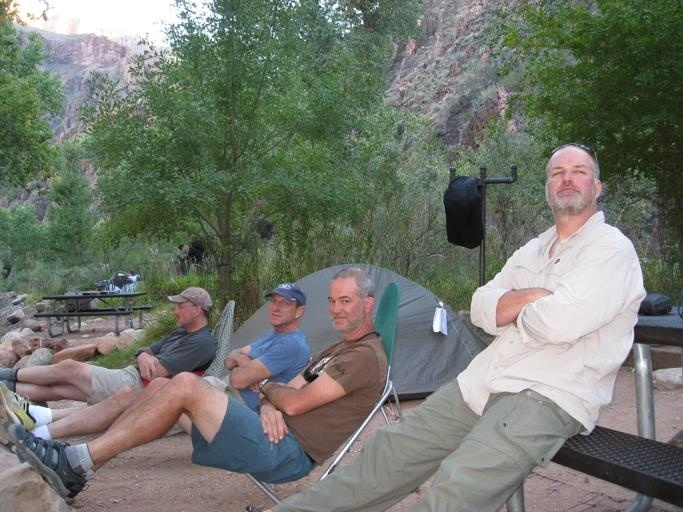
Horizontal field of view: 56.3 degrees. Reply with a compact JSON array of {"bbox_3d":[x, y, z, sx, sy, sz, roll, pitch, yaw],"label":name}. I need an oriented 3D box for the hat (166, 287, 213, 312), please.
[{"bbox_3d":[-1.427,0.406,6.125,0.325,0.188,0.233,10,-7,-7],"label":"hat"}]

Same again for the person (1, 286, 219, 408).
[{"bbox_3d":[-2.044,0.880,6.437,2.131,1.445,0.943,8,-5,-20],"label":"person"}]

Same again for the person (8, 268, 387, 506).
[{"bbox_3d":[-0.993,0.833,4.758,2.490,1.751,0.997,4,-4,-13],"label":"person"}]

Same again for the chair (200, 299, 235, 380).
[{"bbox_3d":[-1.247,0.788,6.409,0.426,0.620,0.458,-12,-2,1],"label":"chair"}]

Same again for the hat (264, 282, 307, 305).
[{"bbox_3d":[-0.427,0.303,5.313,0.173,0.133,0.253,-1,-23,42],"label":"hat"}]

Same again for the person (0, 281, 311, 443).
[{"bbox_3d":[-1.380,0.812,5.359,1.985,1.315,1.099,4,-3,-14],"label":"person"}]

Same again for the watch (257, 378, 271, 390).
[{"bbox_3d":[-0.591,0.956,4.755,0.075,0.038,0.098,0,-44,-48],"label":"watch"}]
